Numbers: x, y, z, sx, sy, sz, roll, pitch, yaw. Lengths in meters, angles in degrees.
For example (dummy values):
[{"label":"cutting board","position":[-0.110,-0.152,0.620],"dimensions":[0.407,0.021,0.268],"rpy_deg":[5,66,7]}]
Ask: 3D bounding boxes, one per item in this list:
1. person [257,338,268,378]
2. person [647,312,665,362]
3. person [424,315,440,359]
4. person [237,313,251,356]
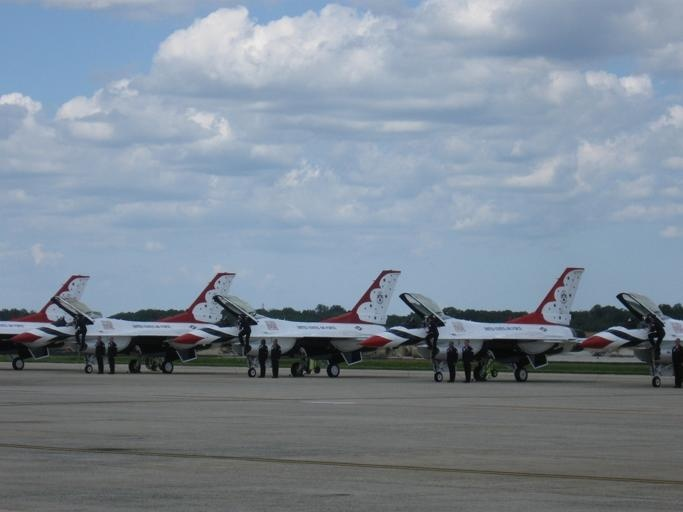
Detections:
[{"label":"person","position":[-2.979,3.804,44.831],"dimensions":[0.346,1.391,0.858],"rpy_deg":[-2,-5,-6]},{"label":"person","position":[10.381,2.658,39.818],"dimensions":[0.573,1.582,0.331],"rpy_deg":[-3,-6,10]},{"label":"person","position":[3.220,2.906,43.015],"dimensions":[0.480,1.495,0.628],"rpy_deg":[-3,-6,3]},{"label":"person","position":[-3.778,3.025,46.270],"dimensions":[0.501,1.555,0.624],"rpy_deg":[-2,-6,-4]}]
